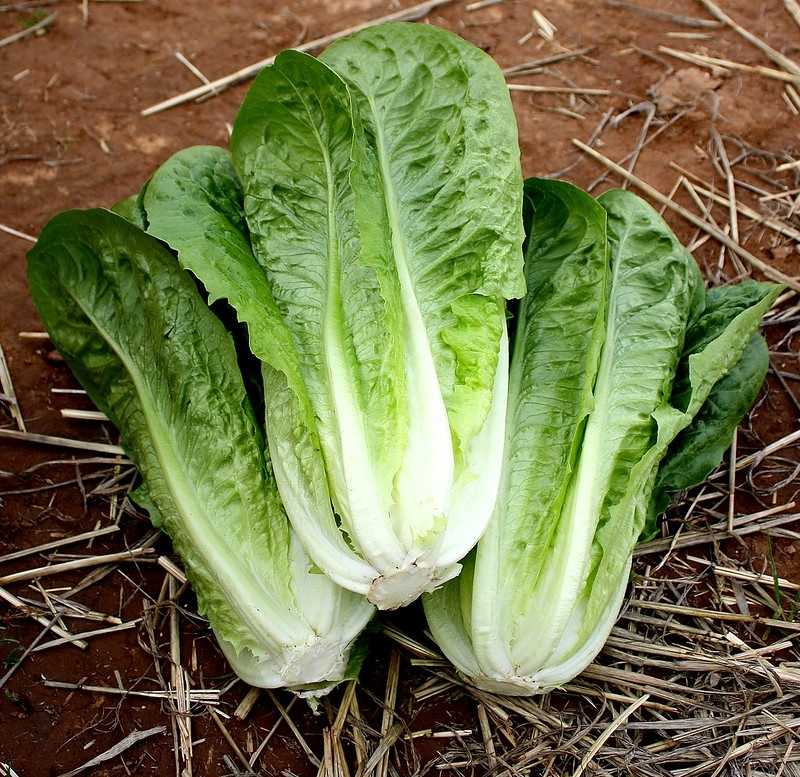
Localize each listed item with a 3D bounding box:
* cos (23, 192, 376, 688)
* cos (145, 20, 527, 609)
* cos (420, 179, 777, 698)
[{"bbox_3d":[-0.679,0.138,3.471,0.823,2.145,0.556,-30,0,23],"label":"cos"},{"bbox_3d":[-0.093,-0.229,3.452,1.538,0.584,1.956,1,83,-2],"label":"cos"},{"bbox_3d":[0.674,0.239,3.309,1.142,1.557,1.451,17,41,9],"label":"cos"}]
